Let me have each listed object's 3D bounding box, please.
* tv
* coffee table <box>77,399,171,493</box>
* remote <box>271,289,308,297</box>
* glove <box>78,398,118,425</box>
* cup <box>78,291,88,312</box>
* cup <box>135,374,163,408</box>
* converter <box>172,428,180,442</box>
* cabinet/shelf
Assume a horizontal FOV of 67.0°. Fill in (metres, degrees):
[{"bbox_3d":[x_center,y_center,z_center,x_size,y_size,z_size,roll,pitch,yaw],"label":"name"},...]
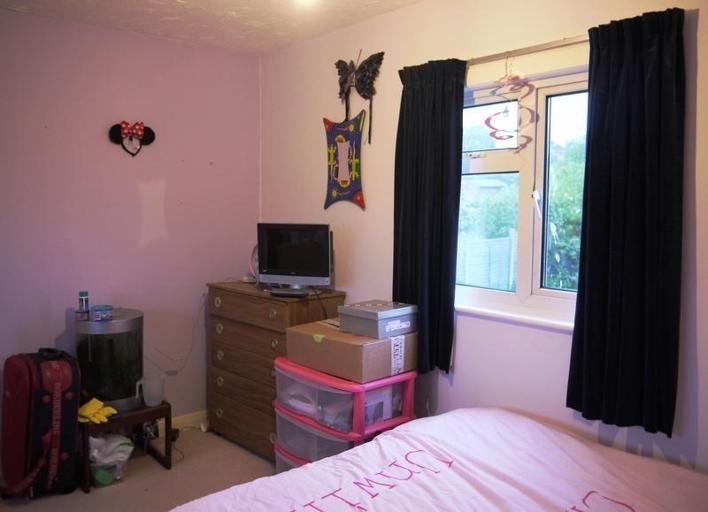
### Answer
[{"bbox_3d":[-0.394,-0.017,3.999,0.718,0.626,0.400,1,-1,23],"label":"tv"},{"bbox_3d":[-1.565,1.128,3.635,0.622,0.524,0.438,1,-1,-42],"label":"coffee table"},{"bbox_3d":[-0.449,0.248,3.688,0.254,0.031,0.252,-1,6,-10],"label":"remote"},{"bbox_3d":[-1.668,1.006,3.460,0.150,0.049,0.159,32,22,0],"label":"glove"},{"bbox_3d":[-1.810,0.293,3.577,0.054,0.126,0.136,-4,7,-33],"label":"cup"},{"bbox_3d":[-1.384,0.922,3.681,0.136,0.190,0.215,6,7,44],"label":"cup"},{"bbox_3d":[-1.327,1.328,3.987,0.040,0.079,0.045,-12,40,-4],"label":"converter"},{"bbox_3d":[-0.593,0.798,4.085,0.981,1.206,0.626,6,7,42],"label":"cabinet/shelf"}]
